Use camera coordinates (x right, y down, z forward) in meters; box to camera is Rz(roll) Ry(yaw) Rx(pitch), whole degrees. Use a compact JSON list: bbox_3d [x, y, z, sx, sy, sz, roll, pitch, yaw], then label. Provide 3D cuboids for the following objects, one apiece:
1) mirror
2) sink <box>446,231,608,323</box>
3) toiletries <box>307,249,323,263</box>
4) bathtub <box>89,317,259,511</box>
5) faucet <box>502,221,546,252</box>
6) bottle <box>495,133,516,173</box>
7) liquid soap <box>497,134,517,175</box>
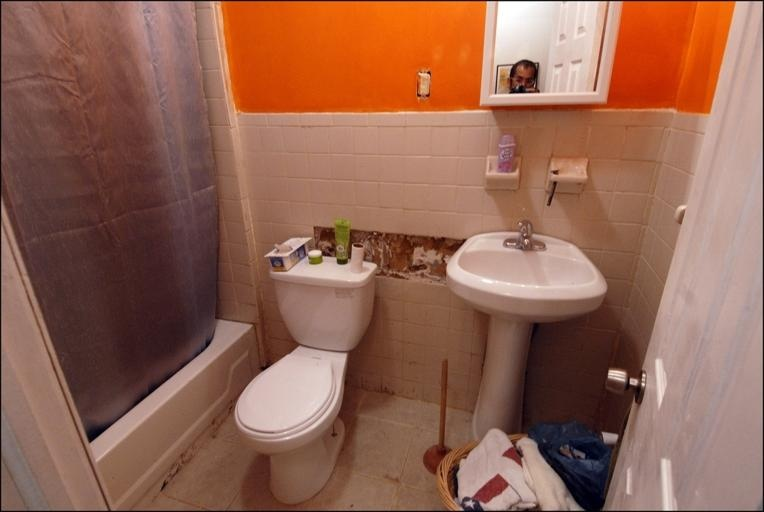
[{"bbox_3d":[0.464,-0.578,1.528,0.429,0.313,0.566,7,26,20],"label":"mirror"},{"bbox_3d":[0.544,0.094,1.961,0.563,0.227,0.436,5,25,16],"label":"sink"},{"bbox_3d":[-0.303,0.003,2.286,0.056,0.045,0.057,7,23,31],"label":"toiletries"},{"bbox_3d":[-0.828,0.681,2.127,0.426,0.233,1.021,6,26,12],"label":"bathtub"},{"bbox_3d":[0.573,-0.067,2.033,0.132,0.080,0.134,2,21,10],"label":"faucet"},{"bbox_3d":[0.489,-0.407,1.996,0.075,0.160,0.059,-7,35,-5],"label":"bottle"},{"bbox_3d":[0.486,-0.404,2.001,0.073,0.137,0.074,3,25,13],"label":"liquid soap"}]
